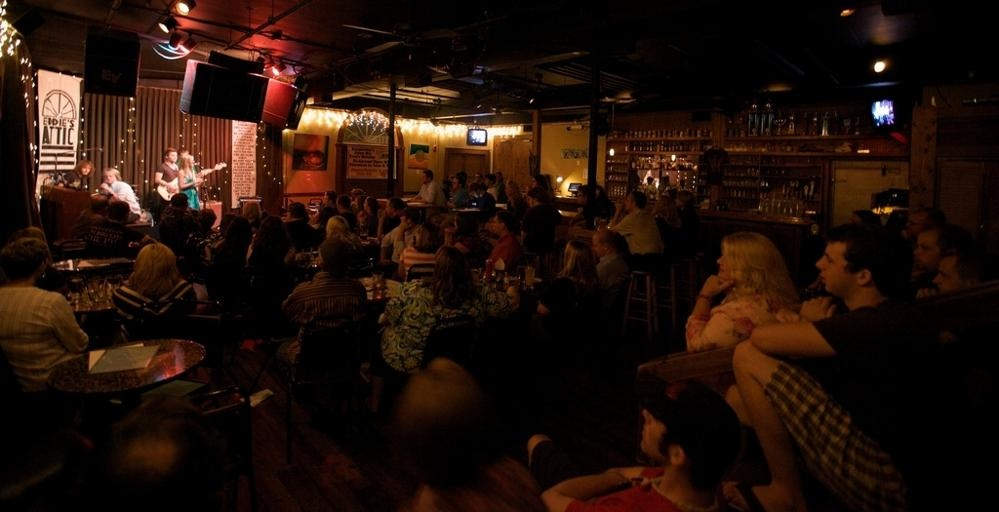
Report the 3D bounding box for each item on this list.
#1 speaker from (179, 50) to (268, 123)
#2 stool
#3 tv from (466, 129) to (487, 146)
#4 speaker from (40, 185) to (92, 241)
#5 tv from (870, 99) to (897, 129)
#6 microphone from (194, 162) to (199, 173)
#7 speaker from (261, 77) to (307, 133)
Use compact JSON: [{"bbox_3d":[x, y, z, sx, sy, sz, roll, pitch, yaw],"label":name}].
[{"bbox_3d":[-5.187,-3.210,11.725,1.431,1.137,0.340,-5,10,-38],"label":"speaker"},{"bbox_3d":[2.653,0.725,10.248,1.271,1.750,1.494,0,-1,-26],"label":"stool"},{"bbox_3d":[-0.753,-3.694,19.340,0.892,0.429,0.600,3,3,-20],"label":"tv"},{"bbox_3d":[-7.234,-0.702,10.372,0.978,0.856,0.363,7,8,45],"label":"speaker"},{"bbox_3d":[6.957,-2.626,11.324,0.124,0.490,0.416,-1,8,-21],"label":"tv"},{"bbox_3d":[-7.278,-2.176,14.978,0.145,0.131,0.034,-9,-4,21],"label":"microphone"},{"bbox_3d":[-4.768,-3.286,13.185,1.037,0.937,0.935,19,9,17],"label":"speaker"}]
